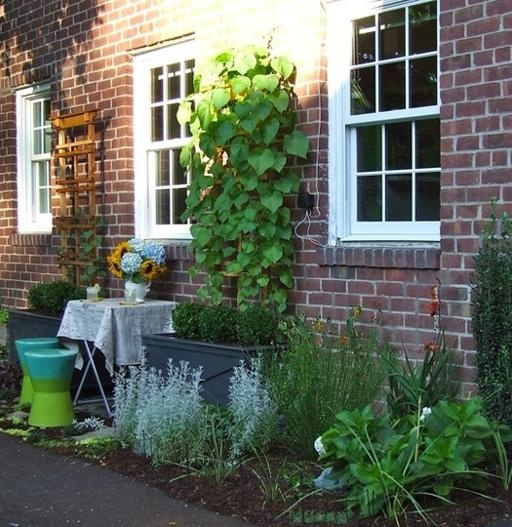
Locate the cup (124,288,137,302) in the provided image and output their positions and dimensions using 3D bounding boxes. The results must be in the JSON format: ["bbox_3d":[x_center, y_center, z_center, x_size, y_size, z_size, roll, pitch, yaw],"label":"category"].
[{"bbox_3d":[-1.043,0.271,4.656,0.102,0.113,0.098,2,4,0],"label":"cup"}]

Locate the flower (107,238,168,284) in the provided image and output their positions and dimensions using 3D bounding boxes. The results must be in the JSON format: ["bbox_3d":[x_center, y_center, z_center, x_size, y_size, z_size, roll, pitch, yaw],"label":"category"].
[{"bbox_3d":[-1.067,-0.042,4.969,0.413,0.426,0.413,6,4,40],"label":"flower"}]

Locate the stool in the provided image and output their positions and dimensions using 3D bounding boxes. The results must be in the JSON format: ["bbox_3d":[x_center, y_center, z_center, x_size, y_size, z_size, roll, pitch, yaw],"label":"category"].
[{"bbox_3d":[-1.647,0.896,4.342,0.394,0.573,1.158,-3,-2,-23],"label":"stool"}]

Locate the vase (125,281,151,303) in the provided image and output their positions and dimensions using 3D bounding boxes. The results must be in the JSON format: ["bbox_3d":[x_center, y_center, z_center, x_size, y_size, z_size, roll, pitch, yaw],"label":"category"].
[{"bbox_3d":[-1.016,0.244,4.700,0.182,0.155,0.172,1,-4,-8],"label":"vase"}]
